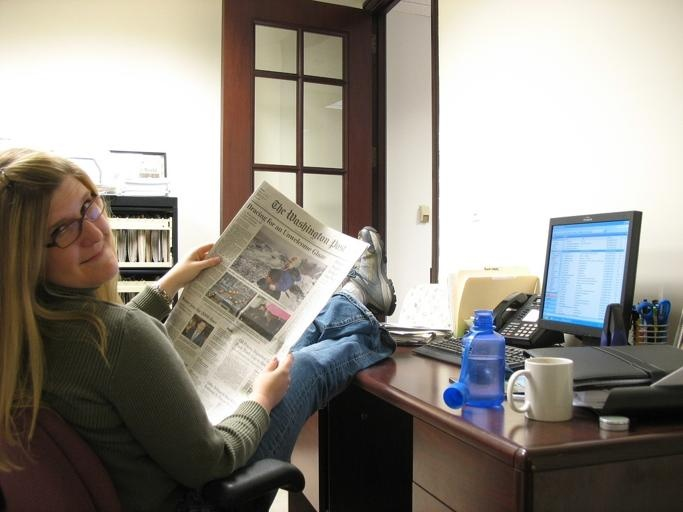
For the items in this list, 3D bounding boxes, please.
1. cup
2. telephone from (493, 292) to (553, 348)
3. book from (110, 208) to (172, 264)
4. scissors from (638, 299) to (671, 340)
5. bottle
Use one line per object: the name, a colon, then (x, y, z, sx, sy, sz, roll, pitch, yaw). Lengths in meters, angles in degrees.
cup: (0.389, 0.256, 1.055, 0.142, 0.110, 0.083, -3, 3, -31)
telephone: (0.560, 0.195, 1.631, 0.148, 0.061, 0.139, -28, 18, -23)
book: (-1.063, -0.070, 2.843, 0.392, 0.304, 0.226, 0, -1, -10)
scissors: (0.808, 0.164, 1.370, 0.098, 0.138, 0.024, 0, -3, -3)
bottle: (0.291, 0.217, 1.124, 0.109, 0.212, 0.203, 2, 4, 32)
